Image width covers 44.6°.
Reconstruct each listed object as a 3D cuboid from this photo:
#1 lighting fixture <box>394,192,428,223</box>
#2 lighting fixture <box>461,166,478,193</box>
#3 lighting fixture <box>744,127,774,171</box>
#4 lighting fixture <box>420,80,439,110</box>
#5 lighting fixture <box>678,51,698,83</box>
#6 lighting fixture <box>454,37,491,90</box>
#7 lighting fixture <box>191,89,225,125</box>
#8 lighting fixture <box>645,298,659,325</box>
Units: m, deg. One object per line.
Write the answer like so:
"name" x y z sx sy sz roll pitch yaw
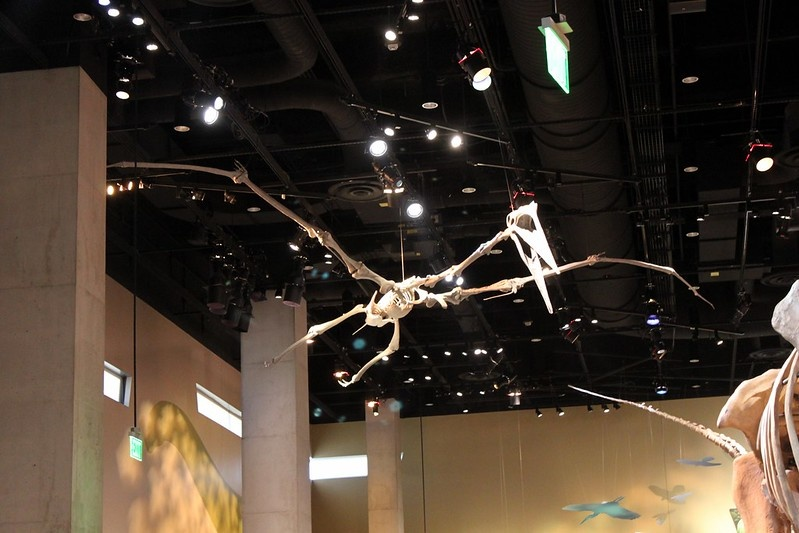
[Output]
"lighting fixture" 0.201 -0.794 13.200 0.381 0.154 0.502 -12 -32 14
"lighting fixture" 0.976 -1.242 13.974 0.329 0.240 0.493 -2 -34 7
"lighting fixture" 4.537 -1.502 12.317 0.392 0.727 0.288 -5 -70 13
"lighting fixture" 0.378 -2.121 12.219 0.333 0.332 0.328 -1 -9 9
"lighting fixture" 3.633 -2.510 12.292 0.230 0.099 0.590 -13 -30 18
"lighting fixture" 0.803 -2.205 10.629 0.326 0.683 0.263 -9 -31 9
"lighting fixture" -2.241 -1.843 11.243 0.371 0.383 0.252 -14 -32 17
"lighting fixture" 3.950 0.692 15.254 0.235 0.357 0.153 -2 -34 8
